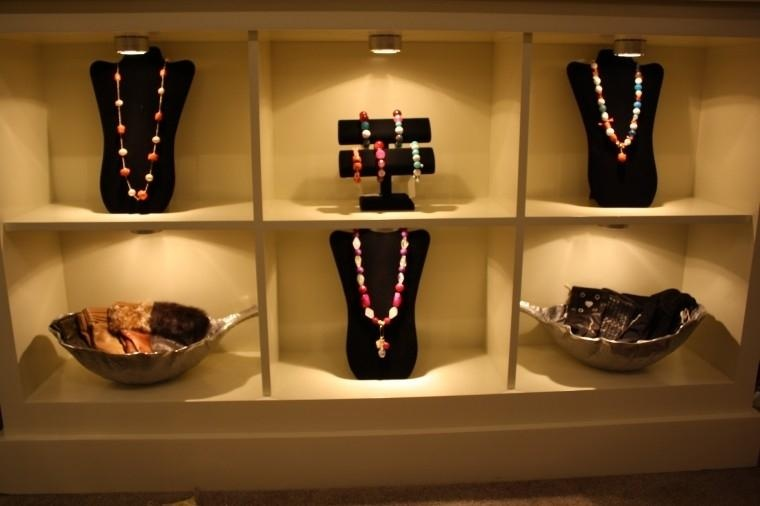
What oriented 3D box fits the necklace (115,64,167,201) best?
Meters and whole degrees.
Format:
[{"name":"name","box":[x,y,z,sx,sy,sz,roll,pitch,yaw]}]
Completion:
[{"name":"necklace","box":[-0.953,-0.485,2.490,0.220,0.538,0.169,-4,14,-10]}]

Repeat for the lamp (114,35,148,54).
[{"name":"lamp","box":[-0.952,-0.799,2.369,0.112,0.061,0.043,-6,14,-19]}]

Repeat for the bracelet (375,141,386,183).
[{"name":"bracelet","box":[0.006,-0.371,2.500,0.041,0.115,0.089,-2,-18,4]}]

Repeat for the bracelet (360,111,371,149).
[{"name":"bracelet","box":[-0.057,-0.496,2.491,0.040,0.136,0.048,0,-3,-7]}]

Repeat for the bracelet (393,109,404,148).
[{"name":"bracelet","box":[0.077,-0.509,2.522,0.041,0.144,0.080,-2,13,-1]}]

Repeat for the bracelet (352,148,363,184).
[{"name":"bracelet","box":[-0.091,-0.354,2.504,0.037,0.124,0.093,-2,13,-2]}]

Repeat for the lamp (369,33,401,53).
[{"name":"lamp","box":[0.022,-0.812,2.421,0.079,0.038,0.079,-1,8,-10]}]
